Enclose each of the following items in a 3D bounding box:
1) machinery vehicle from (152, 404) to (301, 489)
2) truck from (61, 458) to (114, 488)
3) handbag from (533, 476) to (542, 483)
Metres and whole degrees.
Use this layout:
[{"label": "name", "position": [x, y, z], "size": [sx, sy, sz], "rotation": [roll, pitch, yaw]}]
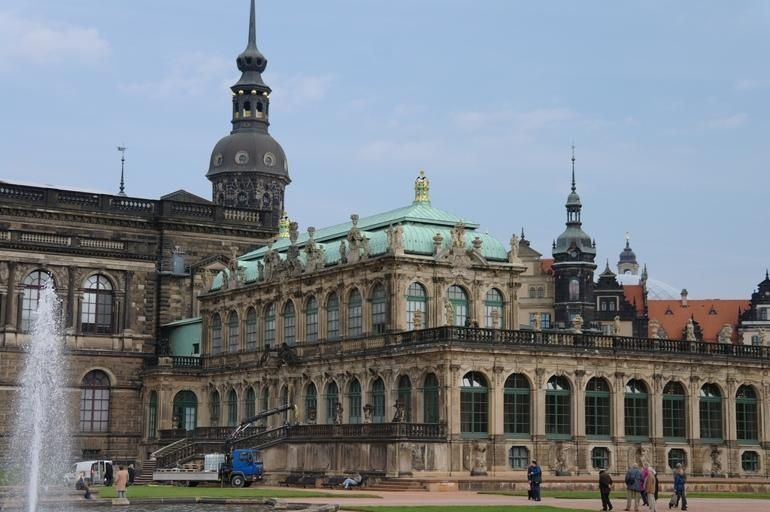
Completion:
[{"label": "machinery vehicle", "position": [-14.295, 17.514, 182.184], "size": [14.011, 6.250, 5.226], "rotation": [-7, -10, 39]}, {"label": "truck", "position": [-26.504, 19.055, 179.801], "size": [3.634, 1.705, 2.324], "rotation": [-3, -6, 38]}, {"label": "handbag", "position": [12.422, 18.044, 164.791], "size": [1.015, 0.386, 1.232], "rotation": [1, -4, 4]}]
